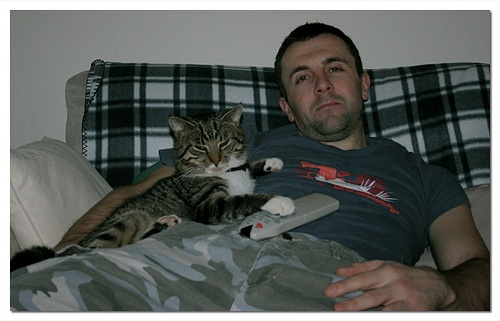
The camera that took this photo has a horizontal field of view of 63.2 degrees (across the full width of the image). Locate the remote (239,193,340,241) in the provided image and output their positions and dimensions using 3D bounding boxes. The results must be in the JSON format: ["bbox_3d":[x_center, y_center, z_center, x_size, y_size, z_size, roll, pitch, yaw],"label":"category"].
[{"bbox_3d":[0.158,0.234,1.733,0.415,0.062,0.167,-15,21,-27],"label":"remote"}]

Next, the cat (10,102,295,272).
[{"bbox_3d":[-0.521,0.150,2.033,1.420,0.514,0.691,-20,9,-1],"label":"cat"}]

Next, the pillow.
[{"bbox_3d":[-0.833,0.142,1.793,0.380,0.500,0.342,2,-1,-18],"label":"pillow"}]

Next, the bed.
[{"bbox_3d":[0.188,-0.122,2.534,1.968,0.997,0.457,2,-20,1],"label":"bed"}]
